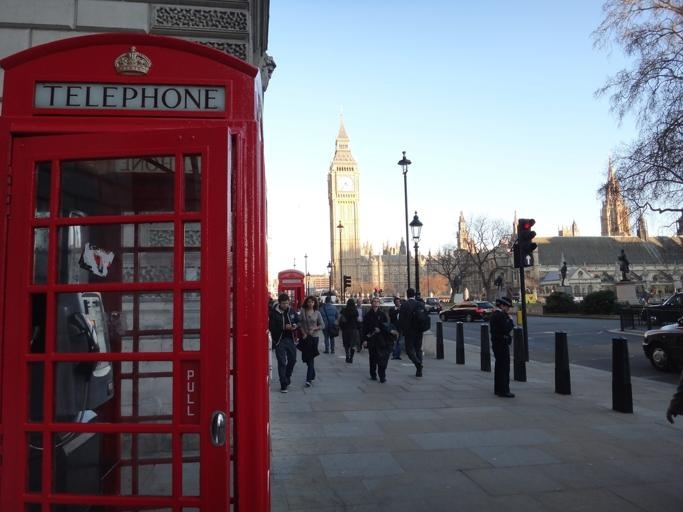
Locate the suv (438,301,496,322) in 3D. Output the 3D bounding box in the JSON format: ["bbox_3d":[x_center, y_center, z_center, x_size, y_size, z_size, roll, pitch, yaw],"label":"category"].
[{"bbox_3d":[7.229,3.188,40.182,2.470,1.202,3.069,4,0,-19],"label":"suv"}]

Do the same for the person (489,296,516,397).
[{"bbox_3d":[2.762,1.517,12.078,0.471,1.696,0.948,3,0,12],"label":"person"}]
